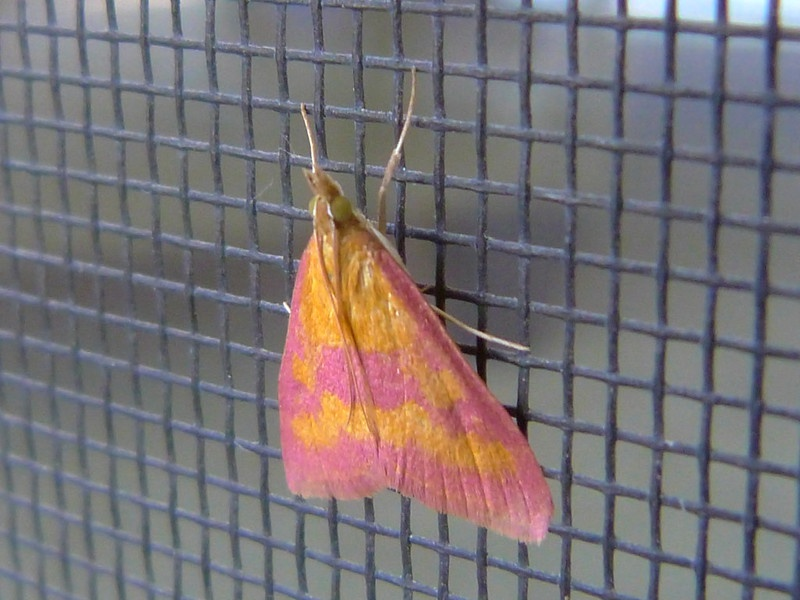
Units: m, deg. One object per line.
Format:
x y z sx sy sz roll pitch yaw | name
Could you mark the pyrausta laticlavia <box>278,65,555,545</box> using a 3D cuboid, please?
0.002 0.043 1.817 0.404 0.252 0.511 -1 -67 9 | pyrausta laticlavia
